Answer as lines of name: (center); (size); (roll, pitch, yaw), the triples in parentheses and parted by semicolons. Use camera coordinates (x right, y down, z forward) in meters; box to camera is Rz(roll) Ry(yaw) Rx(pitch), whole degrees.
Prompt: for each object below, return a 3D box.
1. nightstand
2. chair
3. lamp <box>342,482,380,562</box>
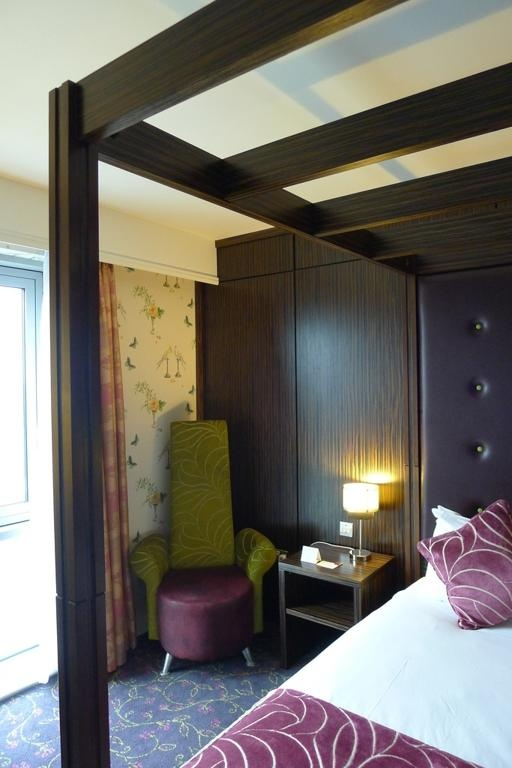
nightstand: (0.380, 1.163, 2.939); (0.443, 0.529, 0.364); (1, -1, 31)
chair: (-0.288, 0.836, 3.216); (0.780, 1.255, 0.702); (0, 2, 2)
lamp: (0.546, 0.694, 2.979); (0.174, 0.369, 0.260); (-4, -1, 15)
